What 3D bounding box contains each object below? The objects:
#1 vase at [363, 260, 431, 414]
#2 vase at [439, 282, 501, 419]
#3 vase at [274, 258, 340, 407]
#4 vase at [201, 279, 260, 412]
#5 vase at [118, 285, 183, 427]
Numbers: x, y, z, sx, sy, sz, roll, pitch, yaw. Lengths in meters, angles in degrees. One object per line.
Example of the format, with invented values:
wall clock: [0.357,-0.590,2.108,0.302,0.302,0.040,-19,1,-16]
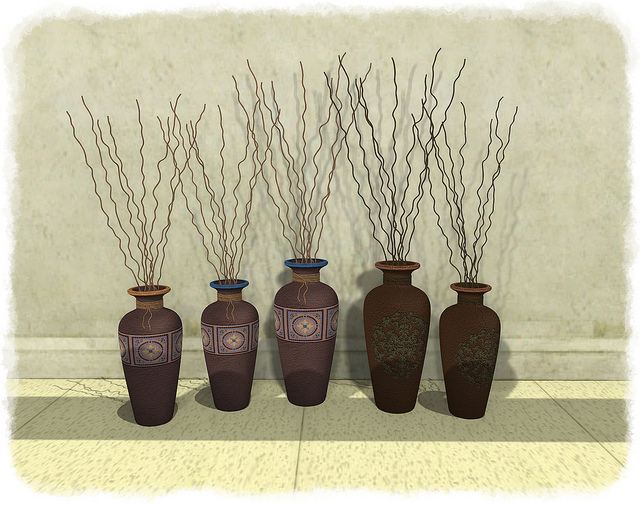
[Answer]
vase: [0.400,0.441,3.245,0.296,0.740,0.328,-6,19,-22]
vase: [0.747,0.526,3.174,0.288,0.619,0.217,7,19,17]
vase: [-0.067,0.425,3.306,0.290,0.735,0.301,-12,22,-36]
vase: [-0.467,0.509,3.240,0.288,0.616,0.223,-1,18,-10]
vase: [-0.844,0.545,3.131,0.298,0.621,0.252,-5,19,-19]
